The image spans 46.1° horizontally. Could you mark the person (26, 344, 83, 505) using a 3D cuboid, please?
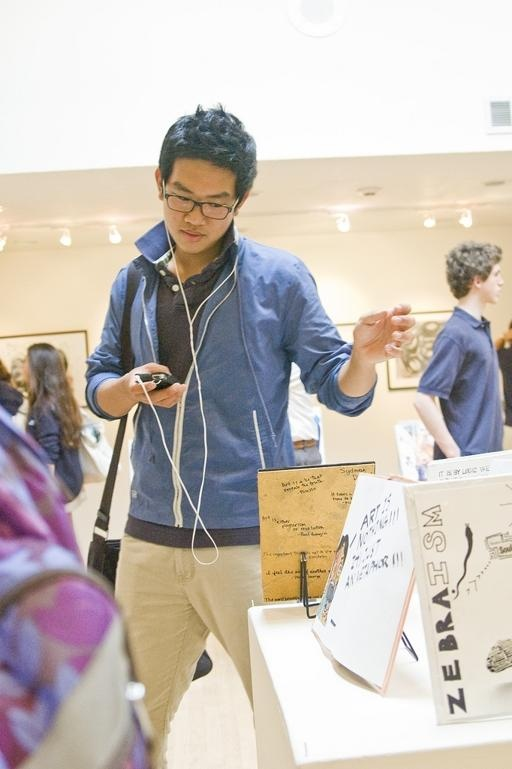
[{"bbox_3d":[-1.056,0.186,3.167,0.275,0.827,0.407,-6,0,-16],"label":"person"}]

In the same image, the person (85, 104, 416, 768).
[{"bbox_3d":[-0.053,0.206,1.283,0.732,1.367,0.364,-6,0,15],"label":"person"}]

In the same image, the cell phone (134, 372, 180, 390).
[{"bbox_3d":[-0.187,-0.008,1.158,0.065,0.034,0.023,2,2,-6],"label":"cell phone"}]

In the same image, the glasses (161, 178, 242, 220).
[{"bbox_3d":[-0.114,-0.385,1.288,0.156,0.081,0.061,-6,0,-6],"label":"glasses"}]

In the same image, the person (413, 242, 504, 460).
[{"bbox_3d":[0.835,-0.158,2.505,0.363,0.879,0.532,-6,0,26],"label":"person"}]
